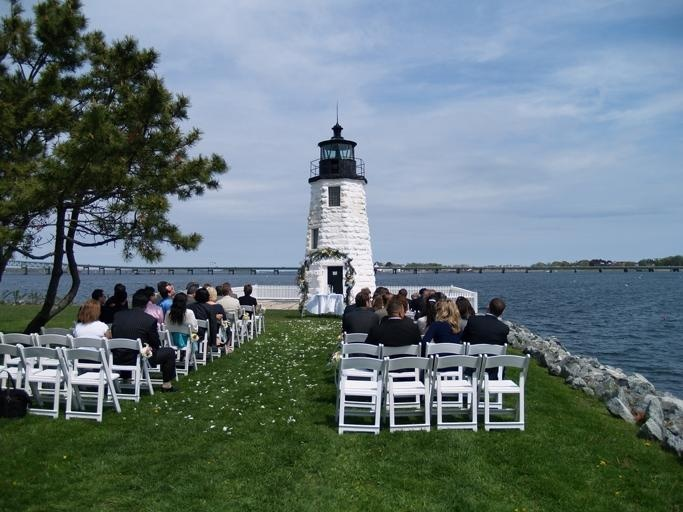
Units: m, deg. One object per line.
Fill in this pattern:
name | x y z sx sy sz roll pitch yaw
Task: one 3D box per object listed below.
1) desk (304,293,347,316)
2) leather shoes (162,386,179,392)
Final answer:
desk | -0.667 2.022 29.222 1.457 0.874 1.655 0 -2 -3
leather shoes | -3.571 2.813 15.158 0.344 0.135 0.125 1 2 -13
